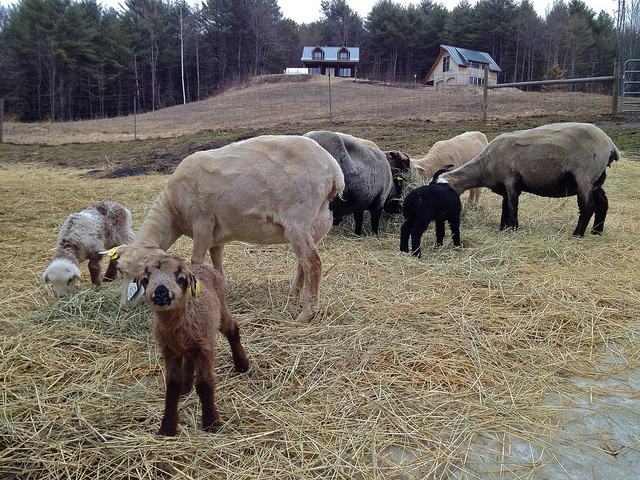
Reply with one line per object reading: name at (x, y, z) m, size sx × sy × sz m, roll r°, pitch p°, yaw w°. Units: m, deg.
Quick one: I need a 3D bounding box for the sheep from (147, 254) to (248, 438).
sheep at (-1.044, 0.768, 4.556) m, size 0.627 × 1.388 × 0.799 m, roll -1°, pitch 13°, yaw -9°

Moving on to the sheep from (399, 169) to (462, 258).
sheep at (1.587, -0.278, 7.735) m, size 0.650 × 0.925 × 1.028 m, roll 13°, pitch 17°, yaw 42°

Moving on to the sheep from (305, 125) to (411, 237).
sheep at (0.593, -0.799, 8.983) m, size 0.946 × 1.621 × 2.894 m, roll 10°, pitch 5°, yaw 39°

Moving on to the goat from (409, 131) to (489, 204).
goat at (2.772, -1.736, 11.641) m, size 1.614 × 1.740 × 1.530 m, roll 11°, pitch 15°, yaw 36°
